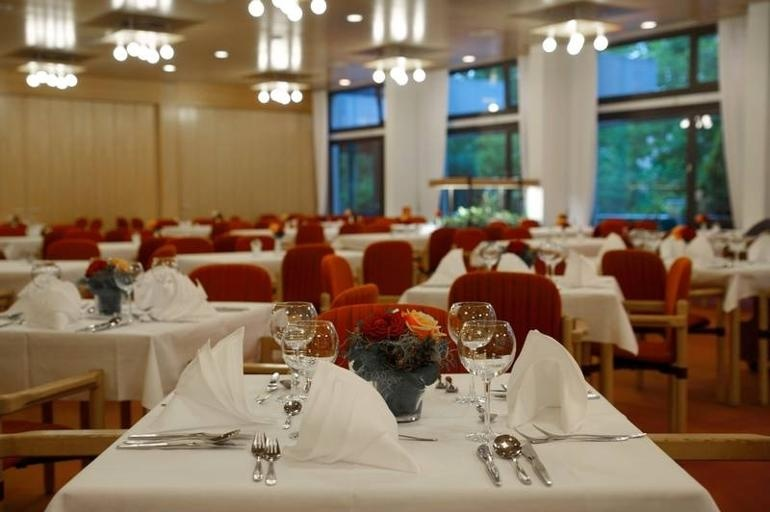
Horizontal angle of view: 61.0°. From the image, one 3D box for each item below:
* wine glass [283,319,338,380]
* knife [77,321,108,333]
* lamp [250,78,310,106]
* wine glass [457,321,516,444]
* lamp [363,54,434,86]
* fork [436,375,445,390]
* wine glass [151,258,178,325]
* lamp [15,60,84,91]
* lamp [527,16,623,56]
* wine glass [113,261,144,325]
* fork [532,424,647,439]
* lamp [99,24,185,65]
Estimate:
[{"bbox_3d":[-0.238,0.307,2.097,0.169,0.200,0.115,3,10,22],"label":"wine glass"},{"bbox_3d":[-1.342,0.322,3.022,0.131,0.016,0.264,-5,10,-23],"label":"knife"},{"bbox_3d":[-2.301,-3.607,14.547,1.096,0.600,2.964,-2,9,-9],"label":"lamp"},{"bbox_3d":[0.325,0.361,2.088,0.163,0.332,0.404,1,9,14],"label":"wine glass"},{"bbox_3d":[0.287,-3.421,11.918,0.860,0.229,0.885,7,13,39],"label":"lamp"},{"bbox_3d":[0.199,0.463,2.375,0.037,0.045,0.040,1,-6,-2],"label":"fork"},{"bbox_3d":[-1.076,0.153,3.247,0.113,0.266,0.232,-4,10,-20],"label":"wine glass"},{"bbox_3d":[-6.673,-3.649,13.214,0.986,0.511,0.971,-6,10,-28],"label":"lamp"},{"bbox_3d":[3.212,-3.705,10.973,1.019,0.393,0.937,-7,10,-43],"label":"lamp"},{"bbox_3d":[-1.279,0.150,3.281,0.133,0.293,0.493,-5,10,-23],"label":"wine glass"},{"bbox_3d":[0.601,0.531,1.978,0.269,0.052,0.030,1,4,5],"label":"fork"},{"bbox_3d":[-4.208,-3.703,11.359,0.557,0.318,0.857,11,12,41],"label":"lamp"}]
